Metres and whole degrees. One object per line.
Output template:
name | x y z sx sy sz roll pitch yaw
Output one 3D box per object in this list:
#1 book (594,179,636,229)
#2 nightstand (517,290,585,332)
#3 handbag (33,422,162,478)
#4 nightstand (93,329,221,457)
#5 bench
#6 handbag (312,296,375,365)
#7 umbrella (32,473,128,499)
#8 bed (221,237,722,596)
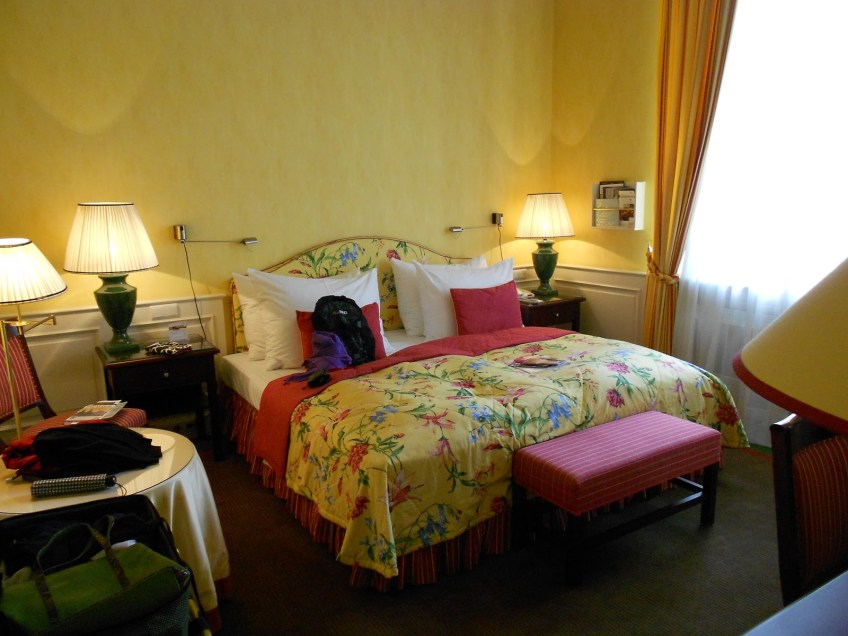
book | 1.571 -0.946 4.764 0.086 0.375 0.422 -12 15 -24
nightstand | 1.078 -0.123 4.913 0.462 0.458 0.346 -11 17 -40
handbag | -1.357 0.543 2.333 0.317 0.111 0.242 -2 7 -33
nightstand | -1.700 0.497 3.879 0.862 0.857 0.692 -6 10 -36
bench | 1.008 0.871 2.959 1.133 0.641 0.389 -13 16 -25
handbag | -0.513 0.086 3.633 0.366 0.425 0.120 -11 -12 -37
umbrella | -1.343 0.657 2.228 0.257 0.064 0.062 -3 0 -13
bed | -0.030 0.480 2.999 1.620 0.465 1.553 -7 15 -31
